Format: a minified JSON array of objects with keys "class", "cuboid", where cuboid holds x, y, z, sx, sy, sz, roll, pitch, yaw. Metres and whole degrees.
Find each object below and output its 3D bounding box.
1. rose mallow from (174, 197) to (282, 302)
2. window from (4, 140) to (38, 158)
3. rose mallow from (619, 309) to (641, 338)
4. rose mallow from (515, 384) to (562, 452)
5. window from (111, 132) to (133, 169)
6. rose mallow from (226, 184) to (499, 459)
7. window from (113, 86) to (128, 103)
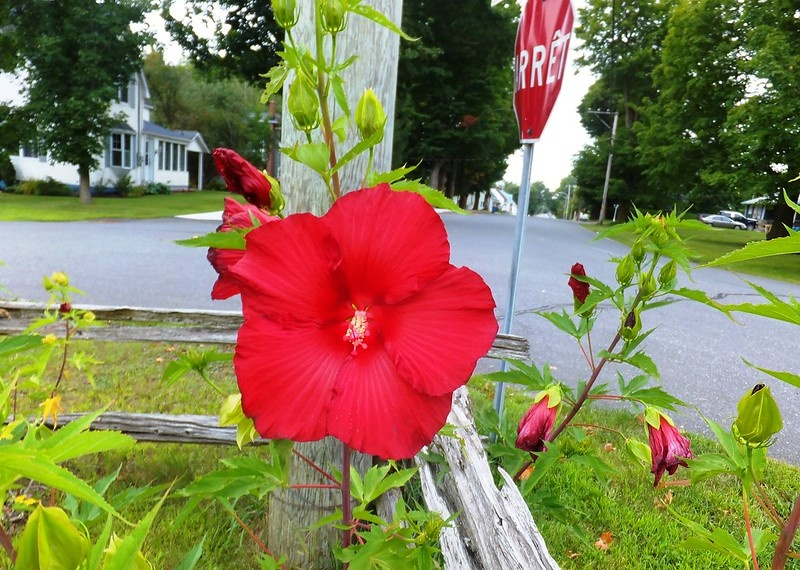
[{"class":"rose mallow","cuboid":[-0.459,-0.099,1.501,0.129,0.273,0.258,-18,6,35]},{"class":"window","cuboid":[-16.604,-5.920,24.083,1.106,0.712,6.944,-1,9,-34]},{"class":"rose mallow","cuboid":[0.904,0.152,2.147,0.072,0.125,0.076,7,8,26]},{"class":"rose mallow","cuboid":[0.533,0.492,2.049,0.218,0.231,0.110,-1,9,-38]},{"class":"window","cuboid":[-15.587,-7.405,30.294,0.202,2.136,1.961,10,11,24]},{"class":"rose mallow","cuboid":[-0.106,0.085,1.392,0.640,0.705,0.222,15,-25,7]},{"class":"window","cuboid":[-15.057,-10.189,29.561,0.350,0.961,1.541,2,8,-11]}]
